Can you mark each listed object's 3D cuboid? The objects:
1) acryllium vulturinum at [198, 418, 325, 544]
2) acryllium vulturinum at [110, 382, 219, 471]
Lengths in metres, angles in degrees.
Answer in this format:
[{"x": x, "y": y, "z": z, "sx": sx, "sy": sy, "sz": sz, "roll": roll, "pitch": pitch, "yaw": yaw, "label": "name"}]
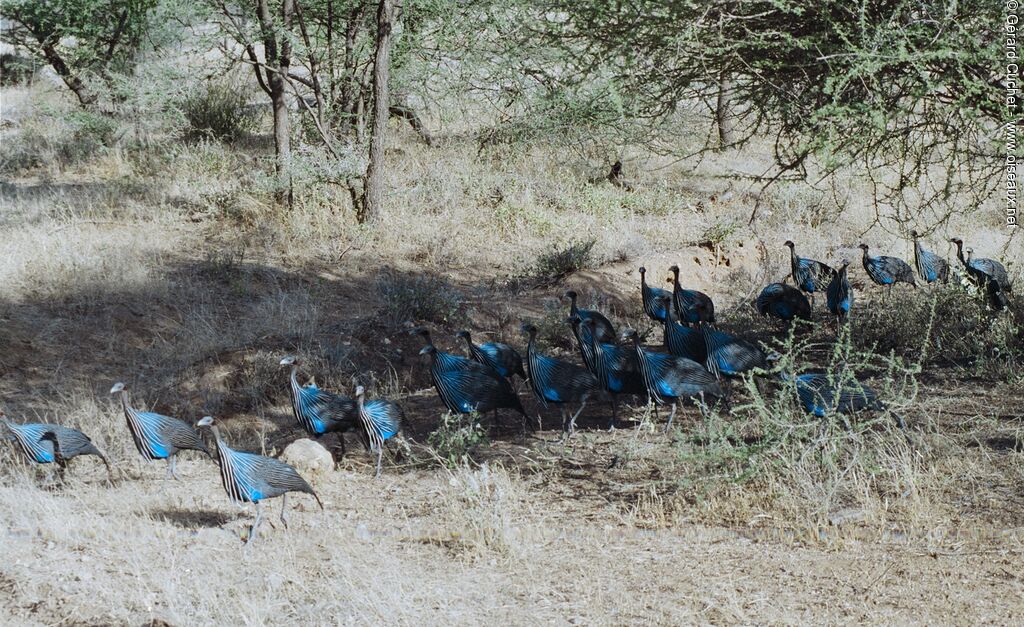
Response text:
[{"x": -3.013, "y": 1.935, "z": 15.564, "sx": 1.355, "sy": 1.322, "sz": 0.901, "roll": -2, "pitch": 14, "yaw": 0, "label": "acryllium vulturinum"}, {"x": -4.425, "y": 1.488, "z": 16.332, "sx": 1.080, "sy": 1.222, "sz": 0.603, "roll": -3, "pitch": 14, "yaw": -6, "label": "acryllium vulturinum"}]
